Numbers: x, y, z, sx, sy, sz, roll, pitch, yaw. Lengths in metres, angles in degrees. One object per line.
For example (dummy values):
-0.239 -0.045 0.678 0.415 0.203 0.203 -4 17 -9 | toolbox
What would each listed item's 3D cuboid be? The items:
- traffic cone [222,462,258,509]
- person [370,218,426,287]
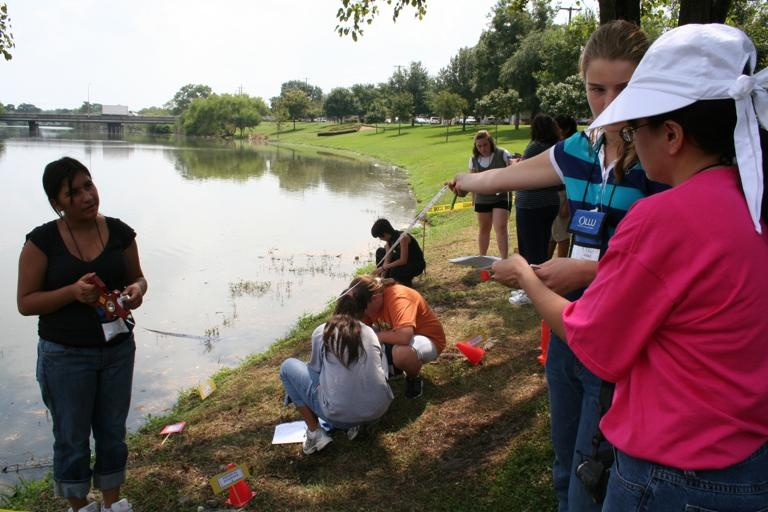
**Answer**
-1.308 2.146 5.676 0.273 0.360 0.242 2 12 32 | traffic cone
0.211 0.015 9.854 0.656 1.296 0.840 1 1 13 | person
